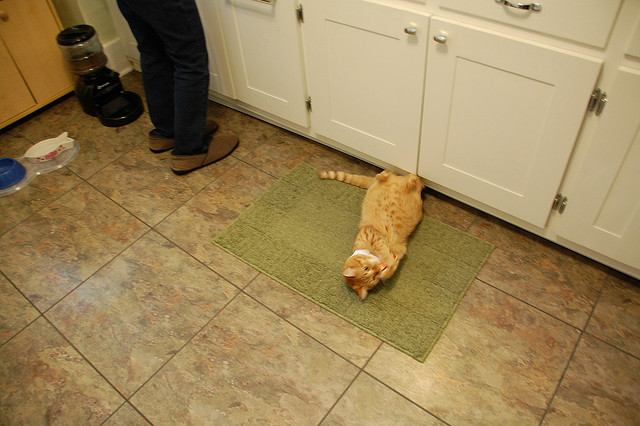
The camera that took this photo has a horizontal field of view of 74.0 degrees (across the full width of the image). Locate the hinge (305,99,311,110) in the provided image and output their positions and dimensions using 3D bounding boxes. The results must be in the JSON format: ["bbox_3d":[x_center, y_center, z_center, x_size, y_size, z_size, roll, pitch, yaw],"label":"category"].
[{"bbox_3d":[-0.075,-0.719,2.799,0.041,0.065,0.041,-4,30,1],"label":"hinge"}]

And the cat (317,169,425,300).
[{"bbox_3d":[0.360,0.098,2.405,0.385,0.262,0.800,16,56,13],"label":"cat"}]

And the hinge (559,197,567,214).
[{"bbox_3d":[1.254,-0.044,2.198,0.024,0.098,0.023,30,68,29],"label":"hinge"}]

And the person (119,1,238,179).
[{"bbox_3d":[-0.964,-0.824,2.734,0.636,1.001,0.753,-17,56,-9],"label":"person"}]

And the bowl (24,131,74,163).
[{"bbox_3d":[-1.944,-0.452,3.101,0.261,0.087,0.196,-27,54,-19],"label":"bowl"}]
